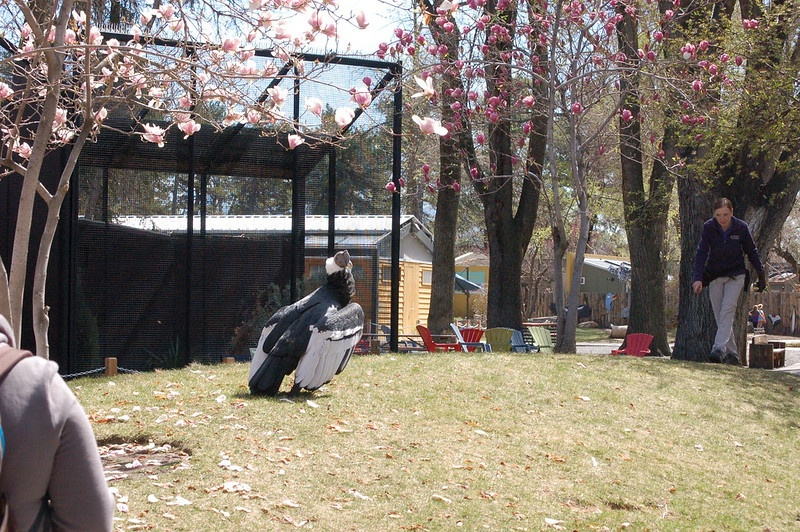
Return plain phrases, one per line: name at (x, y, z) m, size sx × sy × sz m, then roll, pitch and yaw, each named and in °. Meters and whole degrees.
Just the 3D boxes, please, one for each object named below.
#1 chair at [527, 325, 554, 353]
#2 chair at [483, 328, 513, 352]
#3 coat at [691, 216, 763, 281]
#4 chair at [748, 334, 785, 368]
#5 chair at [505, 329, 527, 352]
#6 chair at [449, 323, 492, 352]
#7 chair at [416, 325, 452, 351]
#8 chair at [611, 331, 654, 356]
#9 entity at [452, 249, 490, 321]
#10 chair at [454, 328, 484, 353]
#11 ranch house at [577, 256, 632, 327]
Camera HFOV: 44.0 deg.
chair at (3.060, 1.569, 21.029) m, size 0.466 × 0.583 × 0.611 m, roll -1°, pitch 1°, yaw -35°
chair at (1.913, 1.428, 19.199) m, size 0.376 × 0.460 × 0.504 m, roll 3°, pitch 0°, yaw 3°
coat at (5.297, -0.260, 16.169) m, size 1.310 × 1.308 × 0.902 m, roll 0°, pitch 5°, yaw 31°
chair at (7.079, 1.647, 19.077) m, size 0.500 × 0.582 × 1.354 m, roll 2°, pitch 0°, yaw 31°
chair at (2.337, 1.499, 19.666) m, size 0.377 × 0.500 × 0.521 m, roll 4°, pitch -7°, yaw -43°
chair at (1.429, 1.454, 19.819) m, size 0.489 × 0.435 × 0.564 m, roll 2°, pitch -7°, yaw -35°
chair at (0.671, 1.421, 19.393) m, size 0.680 × 0.538 × 0.467 m, roll -1°, pitch -1°, yaw 2°
chair at (4.673, 1.554, 19.536) m, size 0.435 × 0.425 × 0.829 m, roll 2°, pitch -2°, yaw 7°
entity at (2.516, 1.117, 37.446) m, size 1.711 × 1.825 × 1.623 m, roll 4°, pitch -15°, yaw -16°
chair at (1.428, 1.508, 20.123) m, size 0.445 × 0.672 × 0.497 m, roll -1°, pitch -10°, yaw 1°
ranch house at (8.966, 1.257, 43.347) m, size 1.689 × 3.139 × 3.158 m, roll -1°, pitch 1°, yaw 8°
